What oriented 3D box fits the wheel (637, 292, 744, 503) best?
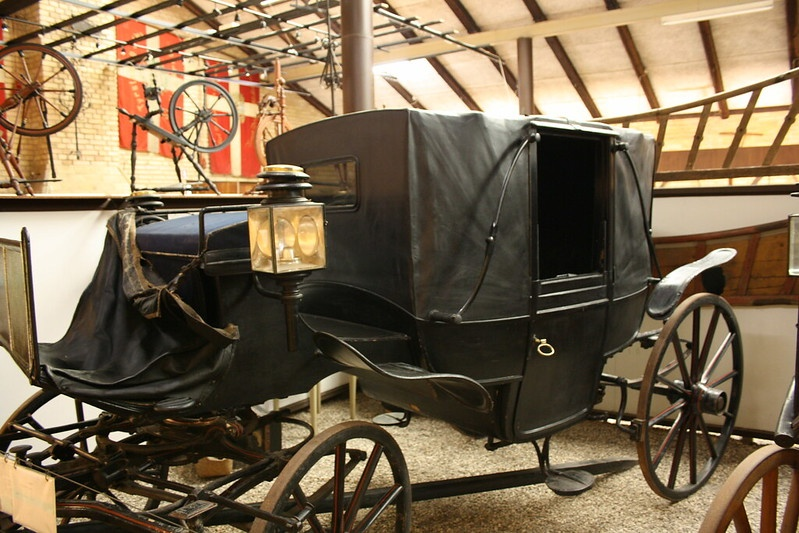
[{"bbox_3d":[1.999,0.869,4.704,1.522,1.348,0.447,5,1,-45],"label":"wheel"}]
